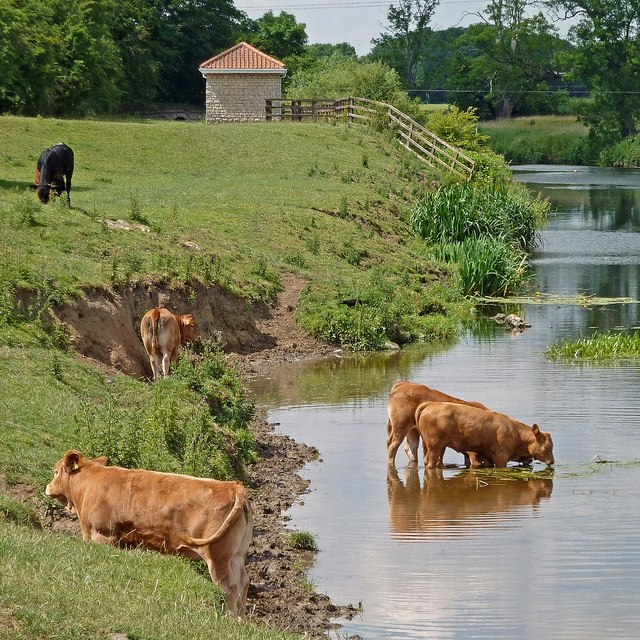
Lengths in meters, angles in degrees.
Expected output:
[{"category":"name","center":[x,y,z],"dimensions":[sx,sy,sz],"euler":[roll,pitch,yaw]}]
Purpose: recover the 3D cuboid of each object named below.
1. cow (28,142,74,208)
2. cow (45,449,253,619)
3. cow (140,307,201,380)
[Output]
[{"category":"cow","center":[-8.276,-4.511,55.522],"dimensions":[0.709,1.734,2.923],"euler":[1,22,11]},{"category":"cow","center":[-4.273,5.075,41.317],"dimensions":[4.842,3.351,1.660],"euler":[9,13,12]},{"category":"cow","center":[-4.093,0.637,48.085],"dimensions":[1.096,2.218,1.790],"euler":[0,8,-1]}]
